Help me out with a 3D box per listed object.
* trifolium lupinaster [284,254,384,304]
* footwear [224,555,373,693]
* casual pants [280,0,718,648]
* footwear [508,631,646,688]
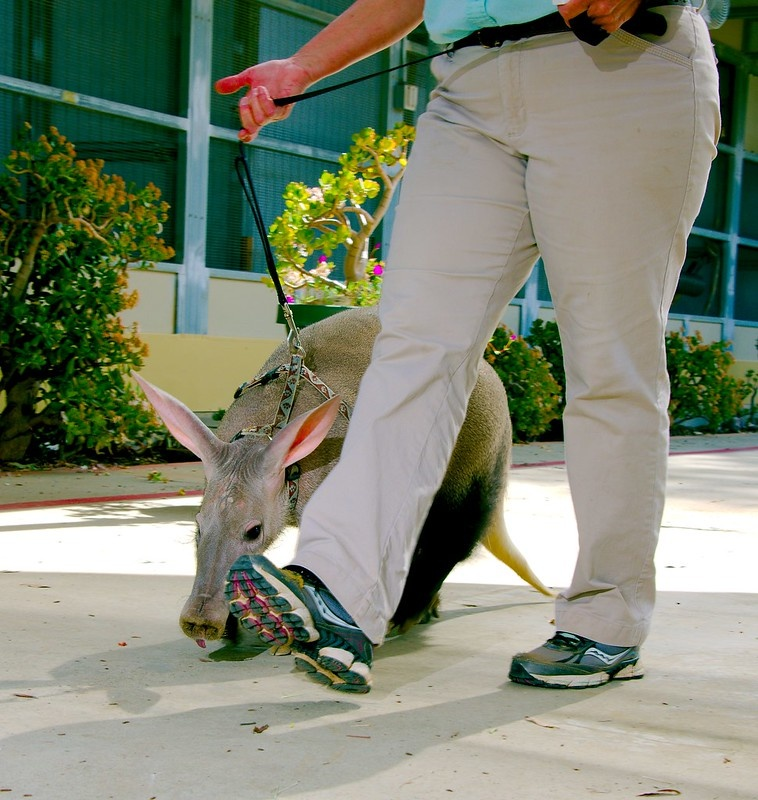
[{"bbox_3d":[-0.232,-0.567,6.044,0.446,0.122,0.446,1,1,-3],"label":"trifolium lupinaster"},{"bbox_3d":[-0.156,0.470,2.526,0.144,0.406,0.188,-47,16,16],"label":"footwear"},{"bbox_3d":[0.235,-0.167,2.790,0.974,1.486,0.469,0,8,-29],"label":"casual pants"},{"bbox_3d":[0.485,0.608,2.893,0.380,0.123,0.149,2,8,-34],"label":"footwear"}]
